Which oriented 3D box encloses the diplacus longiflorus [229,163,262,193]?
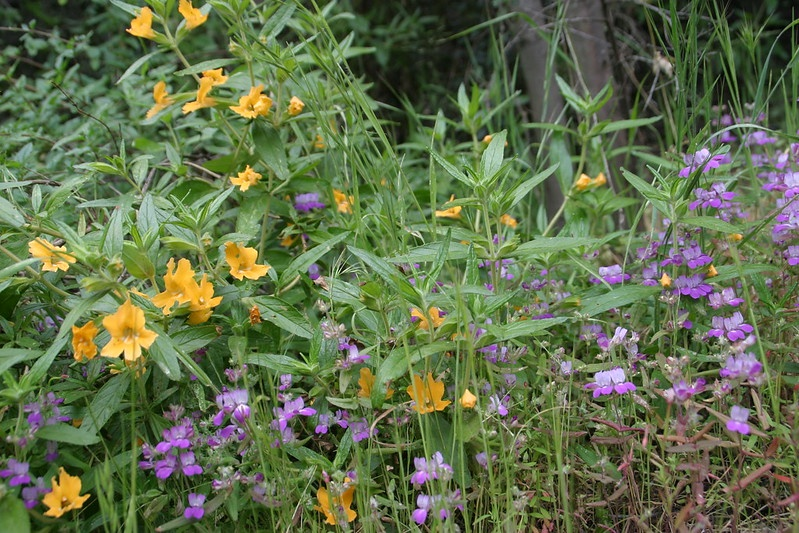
[{"bbox_3d":[-0.622,-0.352,3.072,0.120,0.073,0.130,-28,43,1],"label":"diplacus longiflorus"}]

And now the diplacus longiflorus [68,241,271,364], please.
[{"bbox_3d":[-0.807,0.135,2.648,0.469,0.208,0.199,-31,22,-28],"label":"diplacus longiflorus"}]

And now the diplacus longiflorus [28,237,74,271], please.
[{"bbox_3d":[-1.175,-0.034,2.559,0.136,0.061,0.163,1,72,-34],"label":"diplacus longiflorus"}]
